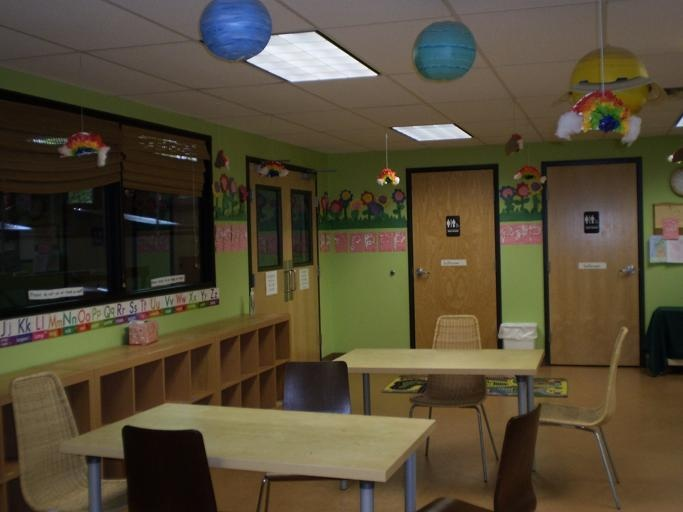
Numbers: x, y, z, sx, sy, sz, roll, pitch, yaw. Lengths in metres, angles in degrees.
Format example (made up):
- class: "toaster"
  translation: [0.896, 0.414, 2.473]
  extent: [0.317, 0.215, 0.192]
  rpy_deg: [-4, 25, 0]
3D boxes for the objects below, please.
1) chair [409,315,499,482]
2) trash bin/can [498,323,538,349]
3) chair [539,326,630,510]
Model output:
- class: "chair"
  translation: [0.945, 1.192, 4.580]
  extent: [0.797, 1.286, 0.842]
  rpy_deg: [-1, -3, 5]
- class: "trash bin/can"
  translation: [2.391, 1.068, 7.268]
  extent: [0.450, 0.357, 0.343]
  rpy_deg: [-2, -5, 24]
- class: "chair"
  translation: [1.846, 1.093, 4.097]
  extent: [0.565, 1.184, 1.061]
  rpy_deg: [-1, 2, 28]
